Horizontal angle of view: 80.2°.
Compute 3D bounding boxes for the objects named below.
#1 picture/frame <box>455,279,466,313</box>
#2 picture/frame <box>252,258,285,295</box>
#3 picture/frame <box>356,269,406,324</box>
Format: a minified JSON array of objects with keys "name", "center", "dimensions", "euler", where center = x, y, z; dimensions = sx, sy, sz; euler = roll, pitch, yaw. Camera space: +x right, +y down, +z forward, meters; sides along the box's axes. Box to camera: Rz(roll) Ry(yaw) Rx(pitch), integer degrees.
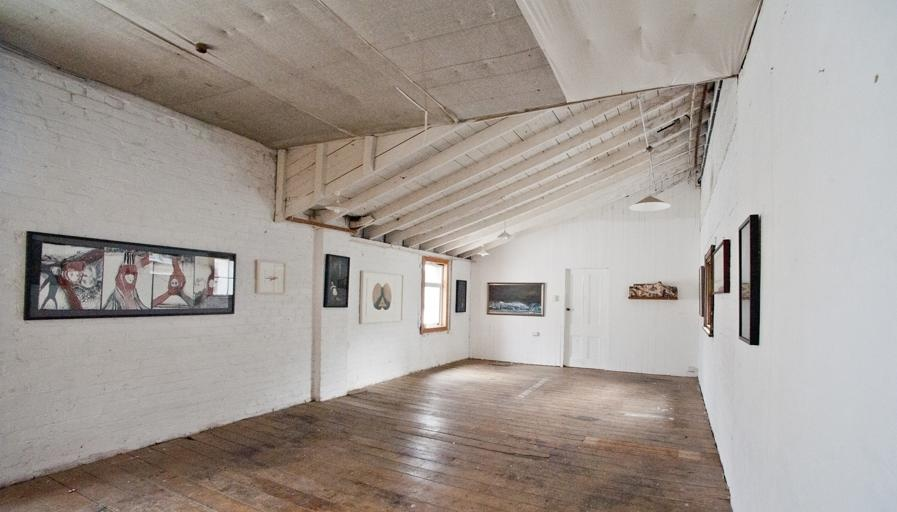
[{"name":"picture/frame","center":[0.272,0.901,12.104],"dimensions":[0.060,0.730,0.788],"euler":[-2,-7,27]},{"name":"picture/frame","center":[-2.607,0.312,7.773],"dimensions":[0.074,0.476,0.585],"euler":[-2,-5,22]},{"name":"picture/frame","center":[-1.249,0.770,9.706],"dimensions":[0.155,0.900,1.310],"euler":[-1,-4,23]}]
